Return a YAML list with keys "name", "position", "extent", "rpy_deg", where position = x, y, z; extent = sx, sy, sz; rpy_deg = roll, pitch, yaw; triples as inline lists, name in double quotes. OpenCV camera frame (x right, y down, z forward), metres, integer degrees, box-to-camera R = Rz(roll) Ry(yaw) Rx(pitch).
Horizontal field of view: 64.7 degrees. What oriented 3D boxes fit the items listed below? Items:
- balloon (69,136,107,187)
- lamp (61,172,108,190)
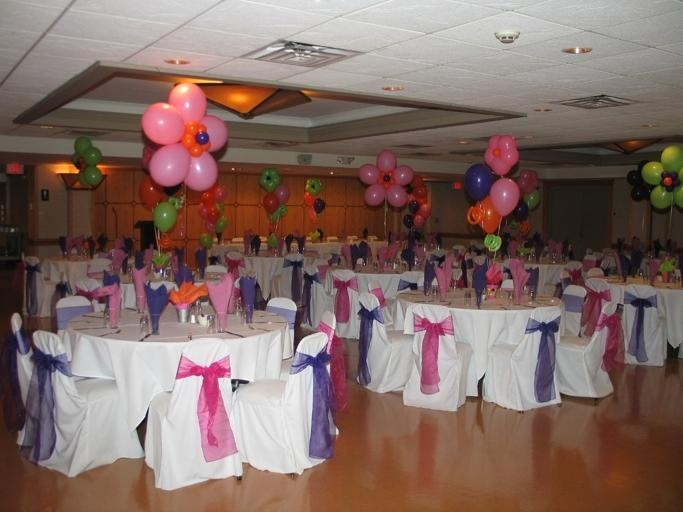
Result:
- name: "balloon"
  position: [-4.689, -1.907, 9.848]
  extent: [0.340, 1.142, 0.733]
  rpy_deg: [4, 3, -12]
- name: "lamp"
  position: [-6.162, -1.812, 12.796]
  extent: [0.890, 0.412, 0.977]
  rpy_deg: [0, -6, -17]
